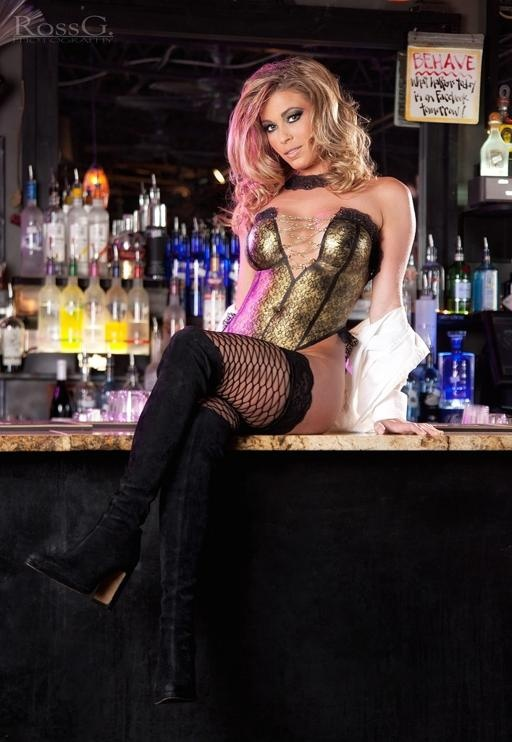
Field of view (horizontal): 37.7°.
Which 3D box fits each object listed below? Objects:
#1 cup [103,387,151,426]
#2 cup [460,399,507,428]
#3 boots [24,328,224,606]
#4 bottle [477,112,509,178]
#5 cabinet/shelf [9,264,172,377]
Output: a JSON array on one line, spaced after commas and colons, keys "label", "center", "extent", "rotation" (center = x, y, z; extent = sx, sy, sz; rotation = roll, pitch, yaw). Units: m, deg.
[{"label": "cup", "center": [-0.331, 0.095, 1.891], "extent": [0.124, 0.085, 0.121], "rotation": [1, -5, 0]}, {"label": "cup", "center": [0.604, 0.120, 1.995], "extent": [0.099, 0.070, 0.076], "rotation": [2, -12, 3]}, {"label": "boots", "center": [-0.209, 0.157, 1.267], "extent": [0.331, 0.457, 0.129], "rotation": [0, 1, -20]}, {"label": "bottle", "center": [1.067, -1.012, 3.369], "extent": [0.118, 0.276, 0.071], "rotation": [1, 1, 4]}, {"label": "cabinet/shelf", "center": [-0.686, -0.262, 3.059], "extent": [0.550, 0.357, 0.154], "rotation": [0, 9, -39]}]
